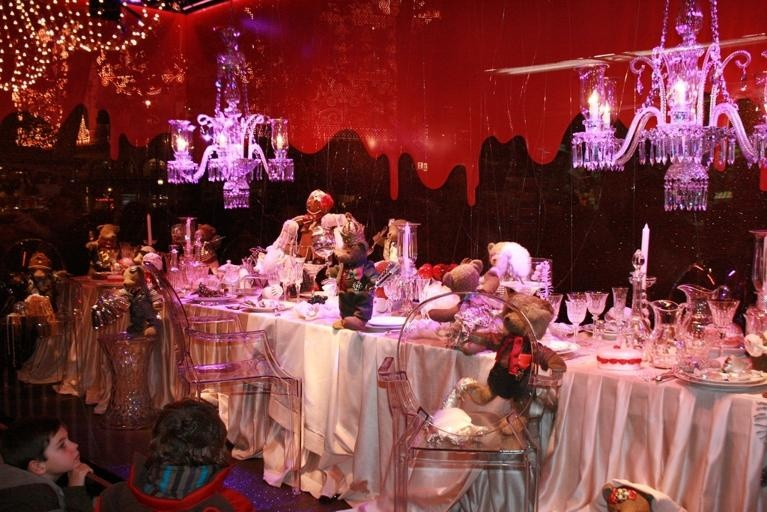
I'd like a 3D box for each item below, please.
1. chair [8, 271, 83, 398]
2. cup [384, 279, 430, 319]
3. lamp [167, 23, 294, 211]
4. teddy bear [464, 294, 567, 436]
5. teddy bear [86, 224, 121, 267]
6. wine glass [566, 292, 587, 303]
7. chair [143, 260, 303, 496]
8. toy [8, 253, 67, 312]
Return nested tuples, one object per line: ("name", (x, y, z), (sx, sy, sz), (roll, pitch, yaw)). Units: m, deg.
("chair", (-3.368, 0.770, 6.313), (0.429, 0.895, 0.600), (-8, 11, -28))
("cup", (0.129, 0.289, 4.141), (0.237, 0.278, 0.270), (-3, -6, 38))
("lamp", (-1.375, -1.268, 5.680), (1.154, 1.564, 1.267), (4, 10, 27))
("teddy bear", (0.677, 0.524, 3.185), (0.429, 0.583, 0.514), (3, -2, 33))
("teddy bear", (-2.911, -0.087, 6.486), (0.339, 0.517, 0.412), (4, -1, -16))
("wine glass", (1.110, 0.239, 3.623), (0.073, 0.057, 0.072), (-1, 3, -28))
("chair", (-0.959, 0.815, 4.331), (0.948, 1.350, 0.969), (-2, 9, 34))
("toy", (-3.520, 0.283, 6.301), (0.536, 0.658, 0.214), (-1, -2, -24))
